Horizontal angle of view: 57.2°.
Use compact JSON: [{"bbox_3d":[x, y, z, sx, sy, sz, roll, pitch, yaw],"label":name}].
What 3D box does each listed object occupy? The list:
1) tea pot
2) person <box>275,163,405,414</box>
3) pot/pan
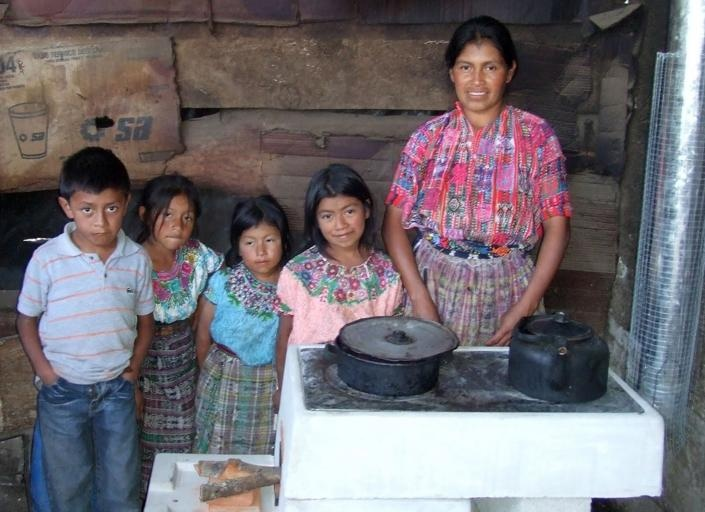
[{"bbox_3d":[0.724,0.319,2.248,0.344,0.247,0.340,-3,14,1],"label":"tea pot"},{"bbox_3d":[-0.022,0.157,3.174,0.728,1.258,0.354,-4,26,-4],"label":"person"},{"bbox_3d":[0.159,0.332,2.265,0.415,0.155,0.401,15,21,36],"label":"pot/pan"}]
